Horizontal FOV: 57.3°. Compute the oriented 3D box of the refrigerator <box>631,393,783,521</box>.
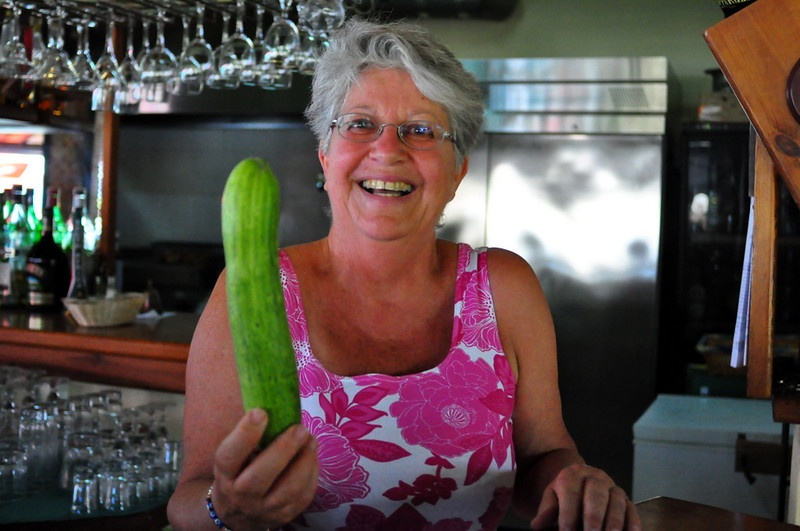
[{"bbox_3d":[1.309,0.724,3.145,0.523,0.331,0.533,1,1,30],"label":"refrigerator"}]

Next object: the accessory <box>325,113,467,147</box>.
[{"bbox_3d":[-0.019,-0.349,1.918,0.320,0.066,0.068,2,0,0],"label":"accessory"}]
